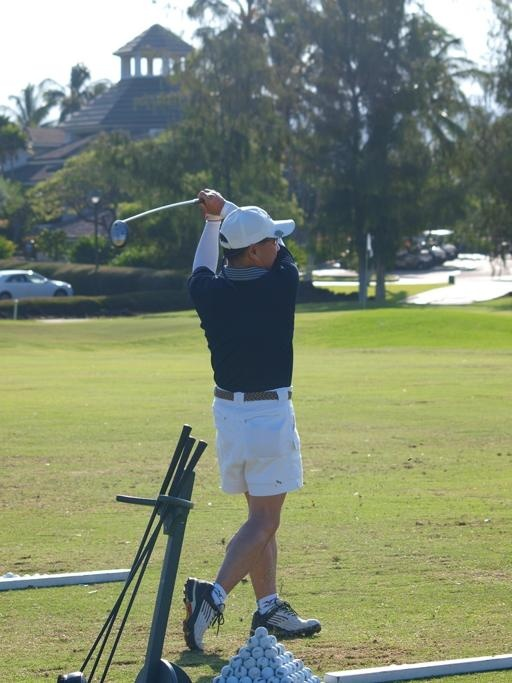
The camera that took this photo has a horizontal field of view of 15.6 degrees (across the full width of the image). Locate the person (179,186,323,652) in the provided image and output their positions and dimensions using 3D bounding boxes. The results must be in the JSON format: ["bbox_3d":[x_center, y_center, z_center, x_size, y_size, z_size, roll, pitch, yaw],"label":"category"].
[{"bbox_3d":[-0.034,0.649,16.072,1.300,3.459,1.146,0,0,-6],"label":"person"}]
